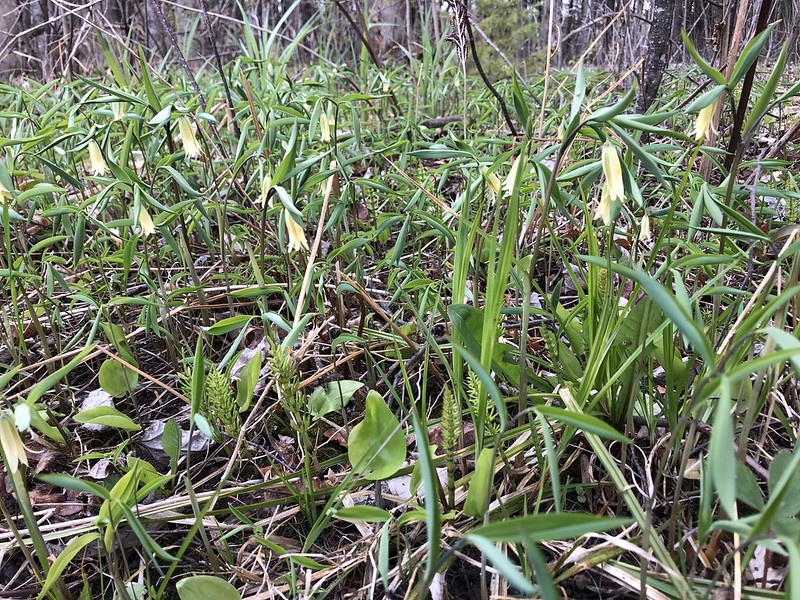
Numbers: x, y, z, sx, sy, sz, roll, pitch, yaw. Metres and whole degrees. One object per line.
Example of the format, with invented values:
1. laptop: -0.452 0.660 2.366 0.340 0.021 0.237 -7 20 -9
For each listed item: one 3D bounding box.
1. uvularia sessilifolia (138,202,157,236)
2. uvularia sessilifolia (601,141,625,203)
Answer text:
1. uvularia sessilifolia: -0.877 -0.302 2.245 0.034 0.023 0.174 -10 59 -15
2. uvularia sessilifolia: 0.559 -0.346 1.719 0.059 0.134 0.093 5 38 12
